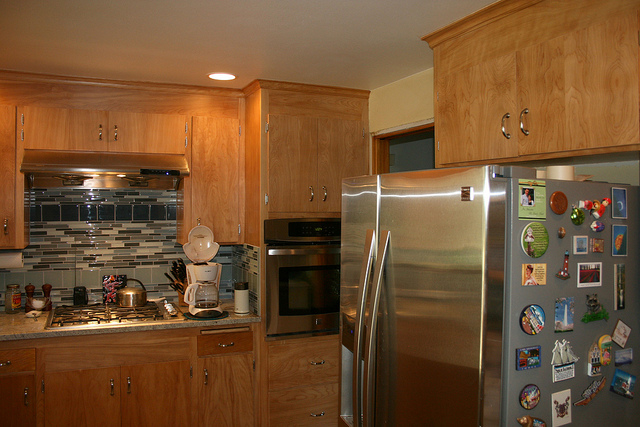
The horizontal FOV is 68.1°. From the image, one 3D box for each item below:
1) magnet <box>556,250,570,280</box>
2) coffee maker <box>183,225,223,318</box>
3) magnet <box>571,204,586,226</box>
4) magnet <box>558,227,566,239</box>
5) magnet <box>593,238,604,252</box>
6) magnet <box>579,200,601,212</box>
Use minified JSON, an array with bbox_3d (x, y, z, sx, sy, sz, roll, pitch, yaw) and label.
[{"bbox_3d":[1.068,0.226,2.078,0.071,0.114,0.020,-2,0,-25],"label":"magnet"},{"bbox_3d":[-0.934,0.440,3.746,0.326,0.683,0.392,-2,5,-24],"label":"coffee maker"},{"bbox_3d":[1.143,0.004,2.095,0.071,0.088,0.034,-6,-5,-16],"label":"magnet"},{"bbox_3d":[1.056,0.082,2.071,0.035,0.042,0.013,9,-3,-29],"label":"magnet"},{"bbox_3d":[1.249,0.140,2.130,0.066,0.061,0.012,1,-1,-19],"label":"magnet"},{"bbox_3d":[1.204,-0.038,2.112,0.074,0.052,0.029,-3,5,-1],"label":"magnet"}]
